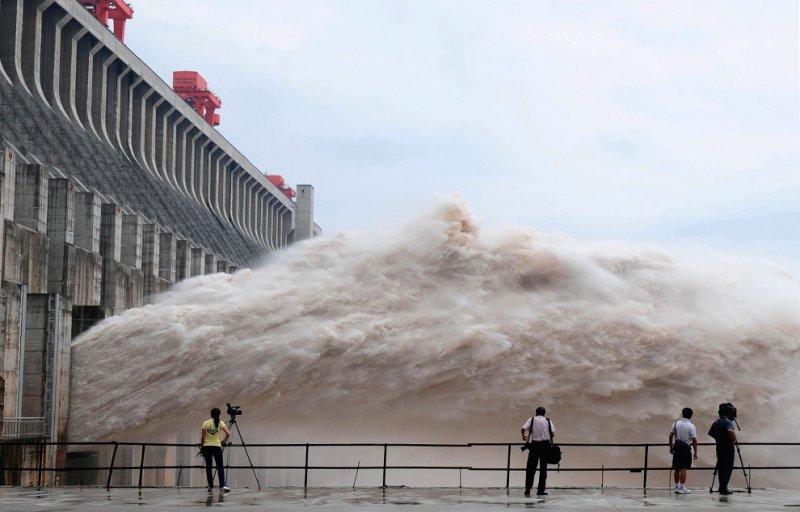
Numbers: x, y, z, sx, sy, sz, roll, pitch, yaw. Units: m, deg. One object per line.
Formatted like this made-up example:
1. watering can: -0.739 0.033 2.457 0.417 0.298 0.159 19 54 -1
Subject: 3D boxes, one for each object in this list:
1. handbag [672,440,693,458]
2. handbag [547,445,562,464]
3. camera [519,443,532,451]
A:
1. handbag: 14.443 9.875 71.884 0.810 0.992 1.083 -1 -11 10
2. handbag: 7.935 10.156 72.163 0.775 0.909 1.026 0 1 6
3. camera: 6.306 9.817 72.068 0.783 0.212 0.740 -7 -8 -30
